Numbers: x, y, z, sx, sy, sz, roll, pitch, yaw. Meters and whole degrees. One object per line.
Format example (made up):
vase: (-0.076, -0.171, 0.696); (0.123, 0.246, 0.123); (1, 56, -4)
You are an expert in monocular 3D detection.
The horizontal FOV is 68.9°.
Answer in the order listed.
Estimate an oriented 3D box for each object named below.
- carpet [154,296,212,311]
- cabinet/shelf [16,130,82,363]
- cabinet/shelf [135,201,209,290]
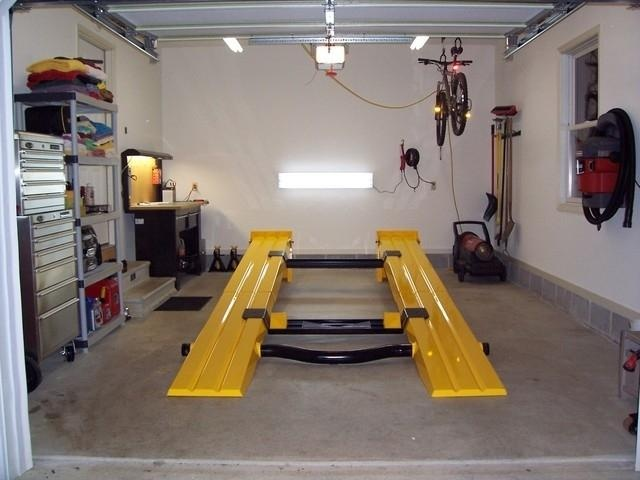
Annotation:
carpet: (-1.755, 0.819, 6.062); (0.586, 0.015, 0.670); (0, 11, 4)
cabinet/shelf: (-2.409, 0.017, 4.069); (0.252, 1.877, 0.757); (-2, 10, -8)
cabinet/shelf: (-2.243, 0.036, 7.165); (0.660, 1.232, 1.312); (2, 11, 12)
